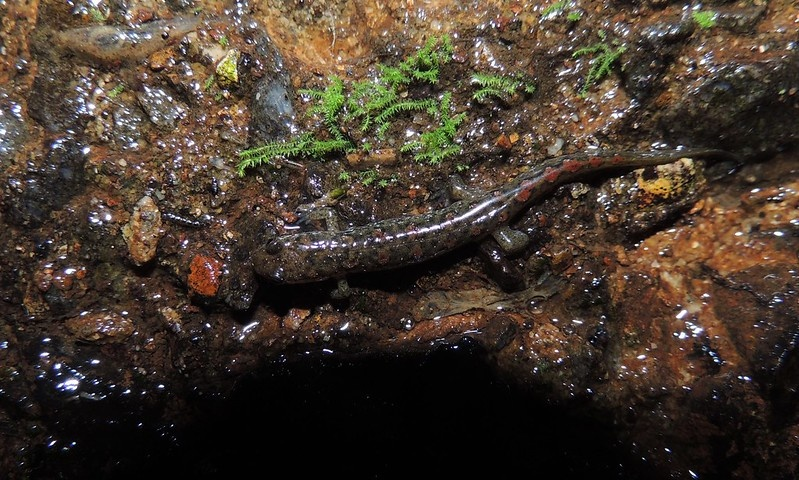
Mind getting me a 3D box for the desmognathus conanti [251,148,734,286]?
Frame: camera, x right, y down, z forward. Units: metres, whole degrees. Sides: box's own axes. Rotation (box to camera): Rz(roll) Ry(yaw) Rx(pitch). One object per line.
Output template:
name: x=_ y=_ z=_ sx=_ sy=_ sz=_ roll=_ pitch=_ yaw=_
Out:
desmognathus conanti: x=0.831 y=-0.430 z=12.142 sx=6.749 sy=1.361 sz=1.067 roll=-9 pitch=62 yaw=-4
